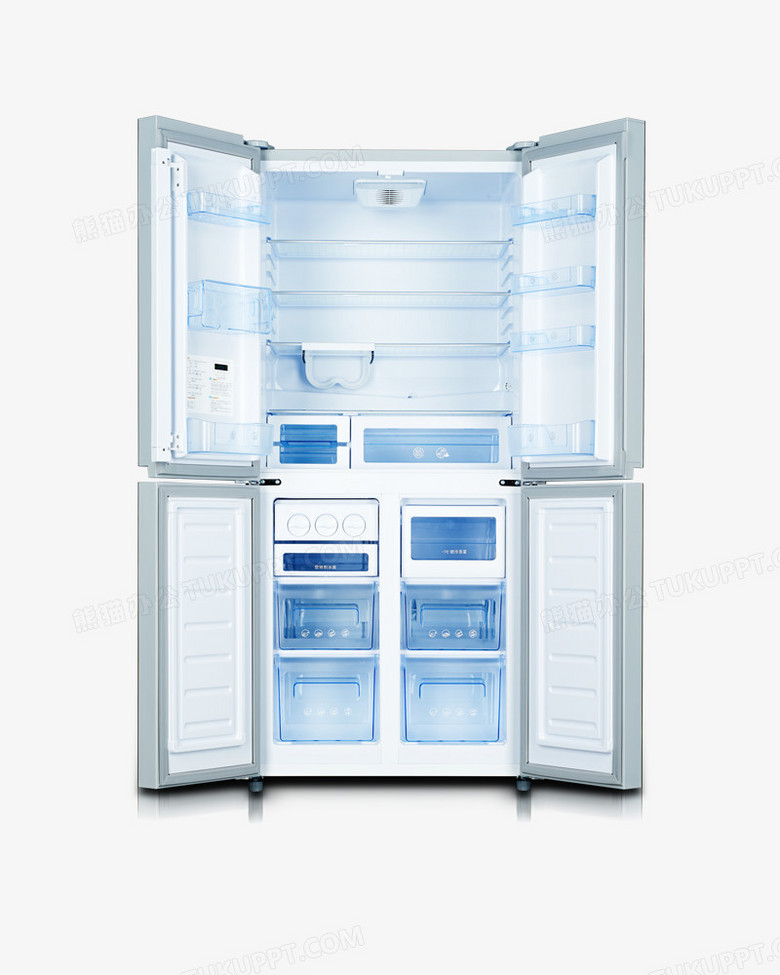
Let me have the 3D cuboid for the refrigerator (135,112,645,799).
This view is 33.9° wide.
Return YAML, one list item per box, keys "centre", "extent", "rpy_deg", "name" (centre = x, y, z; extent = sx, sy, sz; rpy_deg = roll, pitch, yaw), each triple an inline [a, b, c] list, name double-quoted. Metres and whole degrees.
- centre: [-0.027, -0.068, 5.014]
  extent: [1.702, 1.239, 2.391]
  rpy_deg: [0, -91, -7]
  name: "refrigerator"
